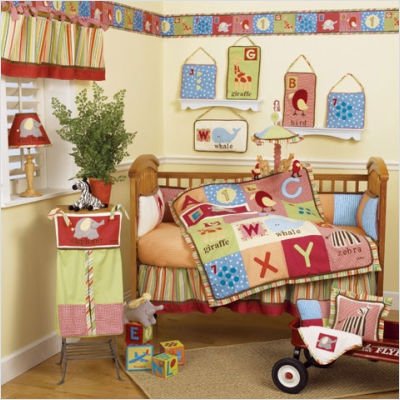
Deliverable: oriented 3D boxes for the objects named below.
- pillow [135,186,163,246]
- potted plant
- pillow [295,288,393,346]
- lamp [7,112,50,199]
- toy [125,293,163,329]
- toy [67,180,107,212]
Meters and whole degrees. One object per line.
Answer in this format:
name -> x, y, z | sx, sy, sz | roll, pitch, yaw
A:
pillow -> -0.275, 0.048, 2.386 | 0.077, 0.213, 0.342 | -2, 13, 16
potted plant -> -0.520, -0.249, 2.078 | 0.408, 0.586, 0.353 | 2, 10, 38
pillow -> 0.651, 0.522, 1.885 | 0.403, 0.176, 0.160 | 2, 5, 21
lamp -> -0.816, -0.216, 1.977 | 0.178, 0.402, 0.345 | -1, 5, -20
toy -> -0.319, 0.581, 2.080 | 0.102, 0.195, 0.117 | 8, 28, -12
toy -> -0.528, -0.025, 1.933 | 0.139, 0.147, 0.178 | 1, 5, 4
